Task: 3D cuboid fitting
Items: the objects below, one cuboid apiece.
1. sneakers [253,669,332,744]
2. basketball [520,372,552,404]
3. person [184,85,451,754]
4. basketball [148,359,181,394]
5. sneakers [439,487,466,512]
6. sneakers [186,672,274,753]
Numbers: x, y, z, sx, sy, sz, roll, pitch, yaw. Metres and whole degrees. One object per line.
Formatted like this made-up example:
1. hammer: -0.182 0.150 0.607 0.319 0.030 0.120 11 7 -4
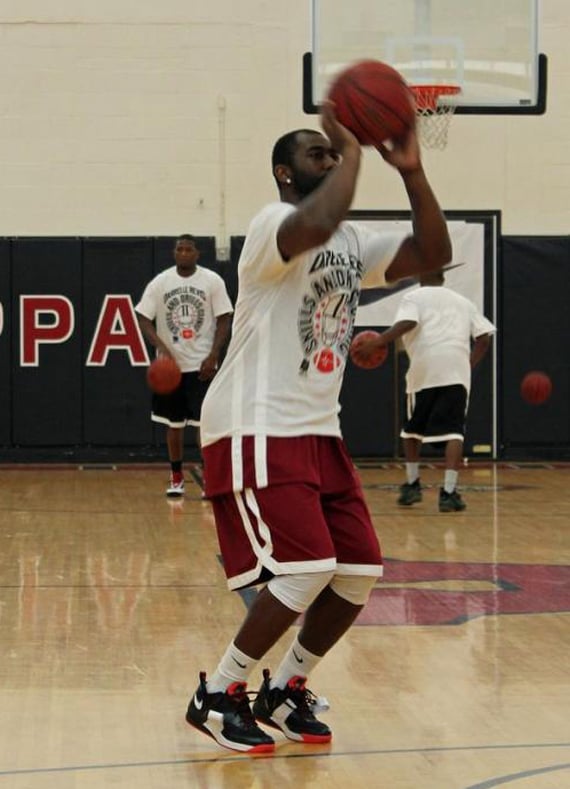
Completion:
1. sneakers: 0.019 0.710 2.098 0.193 0.134 0.068 16 -3 32
2. basketball: 2.469 -0.079 9.089 0.291 0.352 0.301 -1 -2 -15
3. person: -0.005 0.096 1.989 0.411 1.444 0.387 1 6 12
4. basketball: -0.803 -0.128 5.983 0.221 0.268 0.219 -3 0 -18
5. sneakers: 1.063 0.664 5.855 0.198 0.128 0.095 -1 1 -26
6. sneakers: -0.118 0.693 2.013 0.085 0.126 0.249 19 -7 -42
